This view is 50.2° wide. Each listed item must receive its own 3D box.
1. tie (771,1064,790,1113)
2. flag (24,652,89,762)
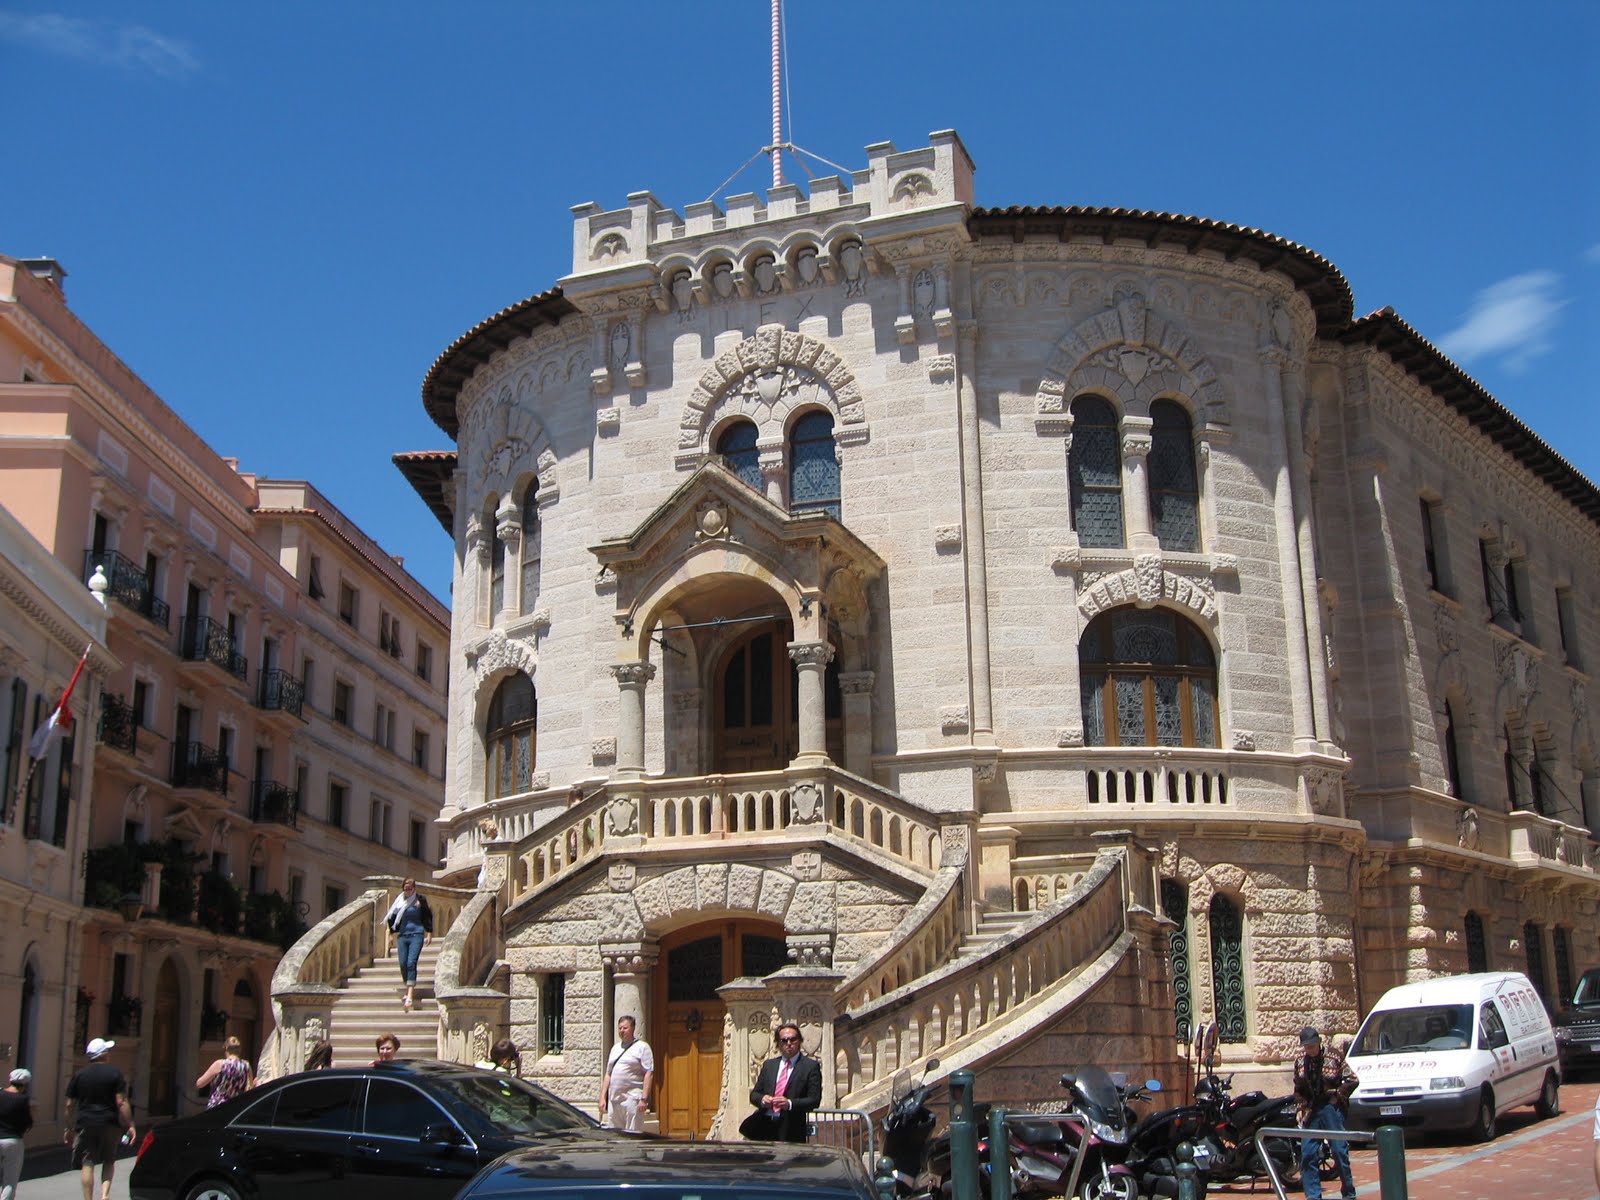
[{"bbox_3d":[-0.209,5.922,20.728,0.204,0.599,0.211,-3,-25,6],"label":"tie"},{"bbox_3d":[-16.787,2.435,38.570,0.401,1.948,1.927,31,-8,-26],"label":"flag"}]
